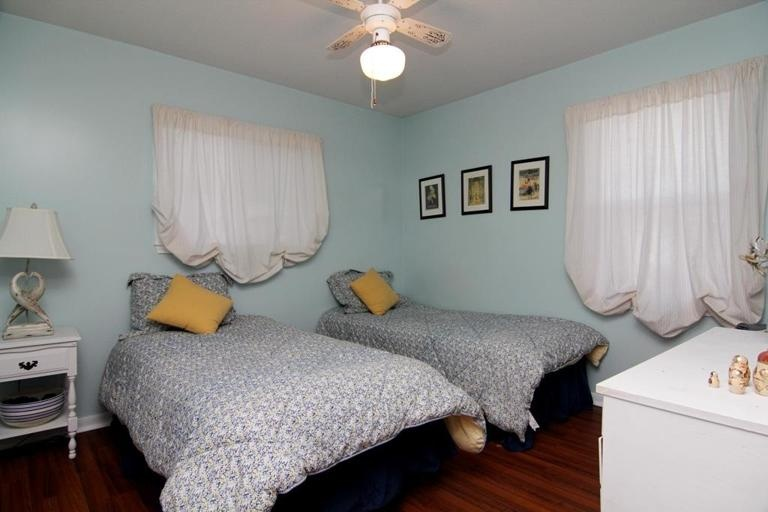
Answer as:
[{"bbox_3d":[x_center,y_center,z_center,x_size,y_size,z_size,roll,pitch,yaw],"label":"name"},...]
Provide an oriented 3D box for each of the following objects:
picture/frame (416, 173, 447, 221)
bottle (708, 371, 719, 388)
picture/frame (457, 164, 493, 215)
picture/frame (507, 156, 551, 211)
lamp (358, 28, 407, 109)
[{"bbox_3d":[0.587,-0.719,5.940,0.045,0.682,0.558,3,-5,-42],"label":"picture/frame"},{"bbox_3d":[1.756,0.665,2.632,0.059,0.081,0.051,7,13,39],"label":"bottle"},{"bbox_3d":[1.039,-0.754,5.515,0.050,0.728,0.571,1,-2,-42],"label":"picture/frame"},{"bbox_3d":[1.517,-0.758,5.102,0.055,0.742,0.577,2,-2,-44],"label":"picture/frame"},{"bbox_3d":[0.005,-1.477,3.841,0.302,0.618,0.872,-3,6,3],"label":"lamp"}]
